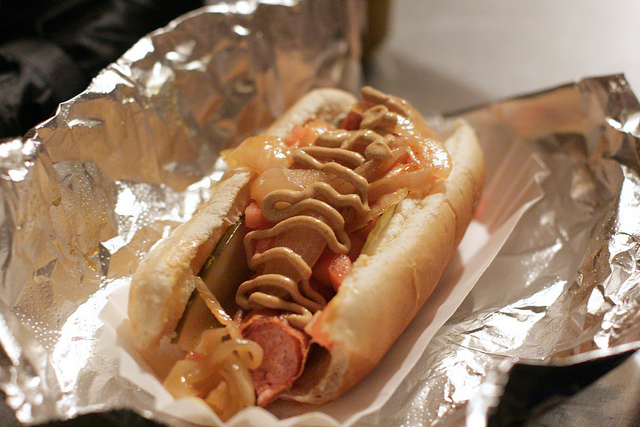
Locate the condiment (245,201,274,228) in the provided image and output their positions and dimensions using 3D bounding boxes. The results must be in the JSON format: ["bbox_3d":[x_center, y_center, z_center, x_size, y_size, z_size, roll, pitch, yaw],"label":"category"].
[{"bbox_3d":[-0.295,0.004,3.191,0.179,0.166,0.136,-1,75,-11],"label":"condiment"}]

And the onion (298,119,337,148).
[{"bbox_3d":[-0.026,-0.461,3.461,0.106,0.075,0.225,19,45,19],"label":"onion"}]

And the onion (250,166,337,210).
[{"bbox_3d":[-0.160,-0.109,3.164,0.340,0.087,0.210,-21,42,-3],"label":"onion"}]

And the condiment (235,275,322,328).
[{"bbox_3d":[-0.216,0.403,2.992,0.364,0.086,0.211,18,49,22],"label":"condiment"}]

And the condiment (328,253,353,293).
[{"bbox_3d":[0.100,0.290,3.072,0.121,0.067,0.237,10,26,-1],"label":"condiment"}]
